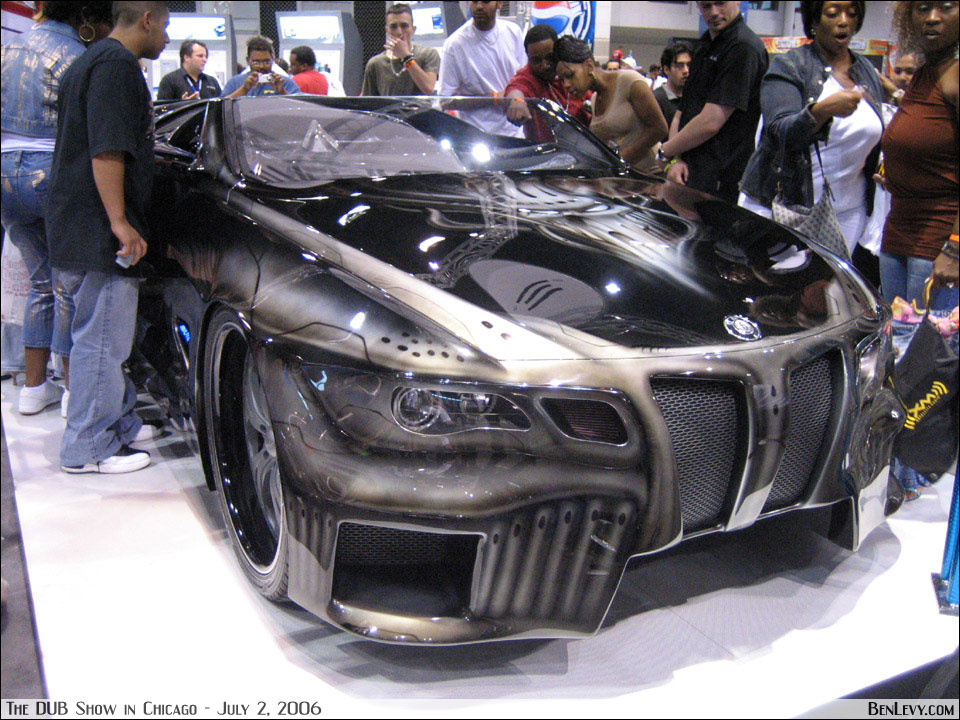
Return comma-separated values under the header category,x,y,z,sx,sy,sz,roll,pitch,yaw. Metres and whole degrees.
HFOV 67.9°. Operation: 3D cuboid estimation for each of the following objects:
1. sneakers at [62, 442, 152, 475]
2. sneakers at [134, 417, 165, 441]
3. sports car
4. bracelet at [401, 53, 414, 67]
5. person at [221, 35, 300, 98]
category,x,y,z,sx,sy,sz,roll,pitch,yaw
sneakers,-1.580,0.455,3.119,0.380,0.138,0.135,-5,24,-11
sneakers,-1.609,0.344,3.464,0.064,0.084,0.195,2,3,3
sports car,-0.176,-0.332,2.399,1.416,0.763,2.479,-11,28,-26
bracelet,-0.534,-2.214,5.279,0.088,0.060,0.081,-4,15,-20
person,-2.043,-2.765,6.684,0.466,0.539,1.366,-3,18,-23
